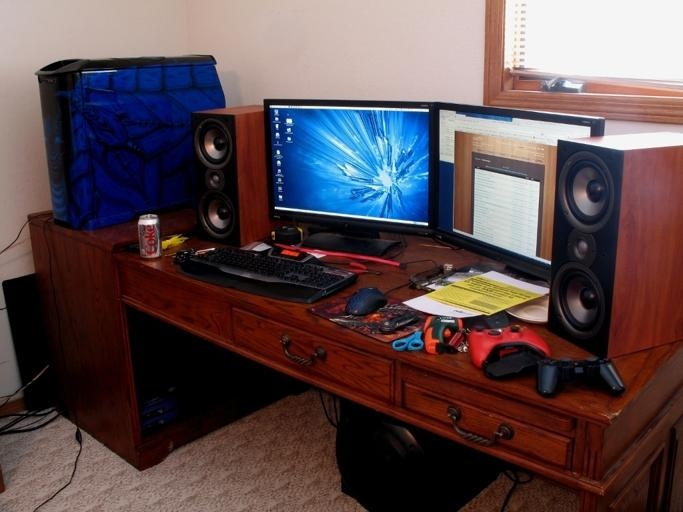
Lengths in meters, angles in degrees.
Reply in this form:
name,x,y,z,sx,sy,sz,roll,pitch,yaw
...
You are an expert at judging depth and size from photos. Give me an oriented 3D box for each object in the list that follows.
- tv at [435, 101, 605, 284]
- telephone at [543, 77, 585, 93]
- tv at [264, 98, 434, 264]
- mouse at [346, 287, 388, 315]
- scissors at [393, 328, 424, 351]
name,x,y,z,sx,sy,sz,roll,pitch,yaw
tv,0.478,-0.199,1.520,0.055,0.443,0.571,-17,26,-31
telephone,0.757,-0.583,1.736,0.095,0.033,0.068,13,31,30
tv,0.036,-0.274,1.825,0.565,0.450,0.174,9,25,24
mouse,0.067,0.127,1.444,0.072,0.052,0.125,16,28,42
scissors,0.165,0.217,1.283,0.084,0.019,0.064,-4,21,0
